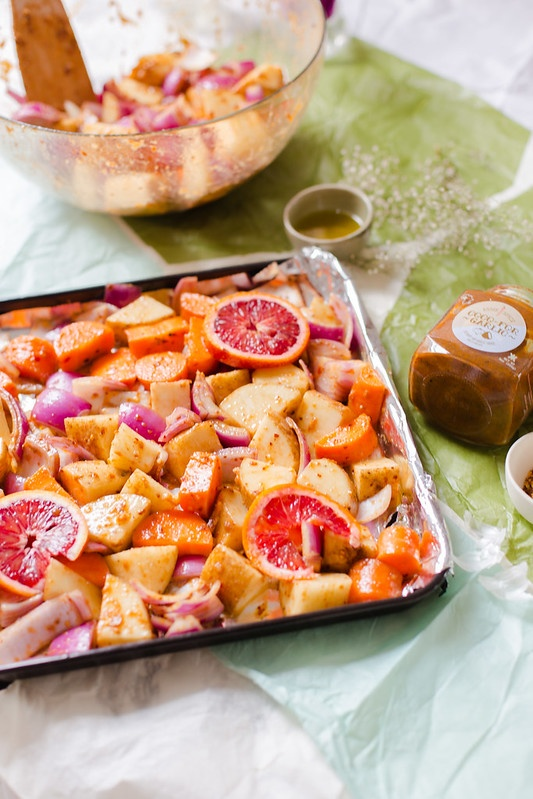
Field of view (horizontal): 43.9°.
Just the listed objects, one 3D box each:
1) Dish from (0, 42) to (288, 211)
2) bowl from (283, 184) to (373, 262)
[{"bbox_3d":[-0.247,-0.578,1.458,0.540,0.115,0.547,-33,59,-28],"label":"Dish"},{"bbox_3d":[0.136,-0.470,1.624,0.227,0.133,0.227,4,29,-2],"label":"bowl"}]
